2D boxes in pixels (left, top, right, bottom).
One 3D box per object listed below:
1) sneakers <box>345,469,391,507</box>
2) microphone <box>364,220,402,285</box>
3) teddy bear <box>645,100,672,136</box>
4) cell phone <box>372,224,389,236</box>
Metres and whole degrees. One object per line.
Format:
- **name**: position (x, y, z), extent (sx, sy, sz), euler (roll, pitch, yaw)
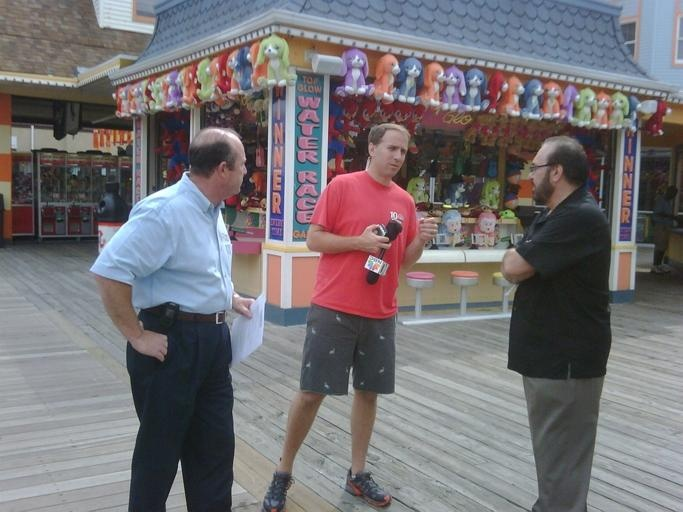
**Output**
- **sneakers**: position (0.169, 1.441, 3.884), extent (0.308, 0.156, 0.134), euler (13, 14, 31)
- **microphone**: position (0.263, -0.029, 3.649), extent (0.255, 0.394, 0.193), euler (0, 6, -21)
- **teddy bear**: position (5.023, -2.298, 9.737), extent (0.411, 0.527, 0.180), euler (16, -12, 1)
- **cell phone**: position (0.232, -0.146, 3.624), extent (0.068, 0.078, 0.068), euler (-23, -31, 4)
